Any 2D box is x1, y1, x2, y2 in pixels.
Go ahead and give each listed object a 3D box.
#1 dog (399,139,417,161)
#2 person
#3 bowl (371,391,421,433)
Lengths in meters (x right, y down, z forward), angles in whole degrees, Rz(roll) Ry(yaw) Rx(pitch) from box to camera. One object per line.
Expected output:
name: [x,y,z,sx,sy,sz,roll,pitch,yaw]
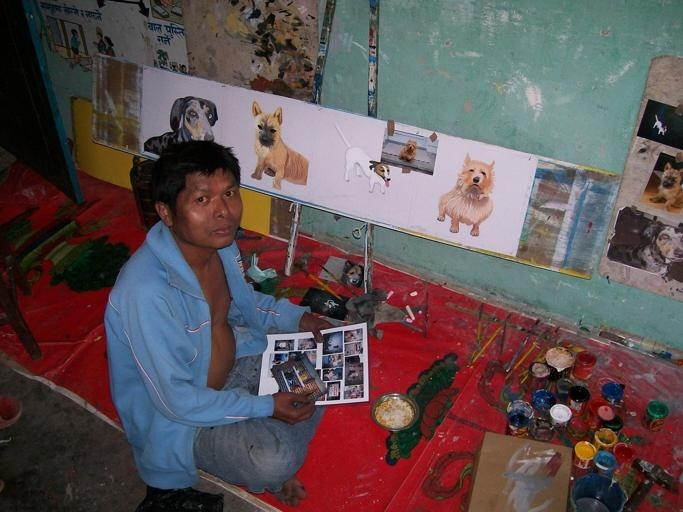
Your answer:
dog: [0.408,-0.646,2.965,0.068,0.132,0.068,22,25,24]
person: [-0.644,0.379,2.562,1.072,1.835,0.820,6,24,-4]
bowl: [0.324,0.956,2.899,0.277,0.059,0.294,-4,29,2]
